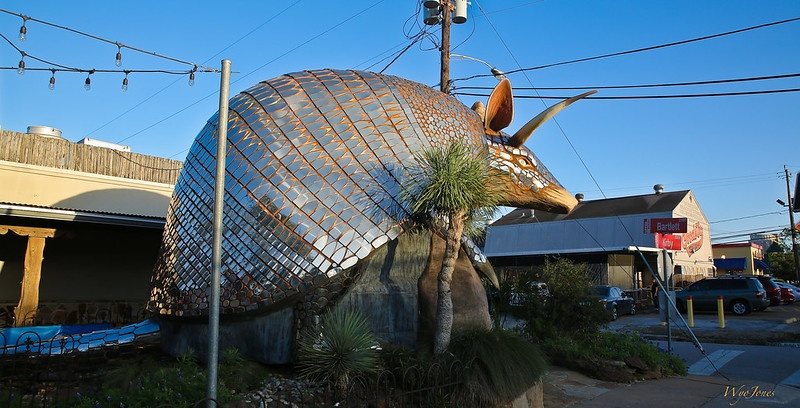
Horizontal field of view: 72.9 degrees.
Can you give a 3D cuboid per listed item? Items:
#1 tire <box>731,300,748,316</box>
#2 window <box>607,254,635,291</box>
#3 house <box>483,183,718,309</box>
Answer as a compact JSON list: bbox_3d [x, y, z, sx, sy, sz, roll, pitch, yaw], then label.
[{"bbox_3d":[18.787,5.730,29.957,0.796,0.766,0.284,-9,-8,21],"label":"tire"},{"bbox_3d":[15.080,4.723,37.166,1.234,2.222,2.388,-13,-5,43],"label":"window"},{"bbox_3d":[16.068,2.763,42.439,13.085,7.063,13.129,-9,-15,39],"label":"house"}]
